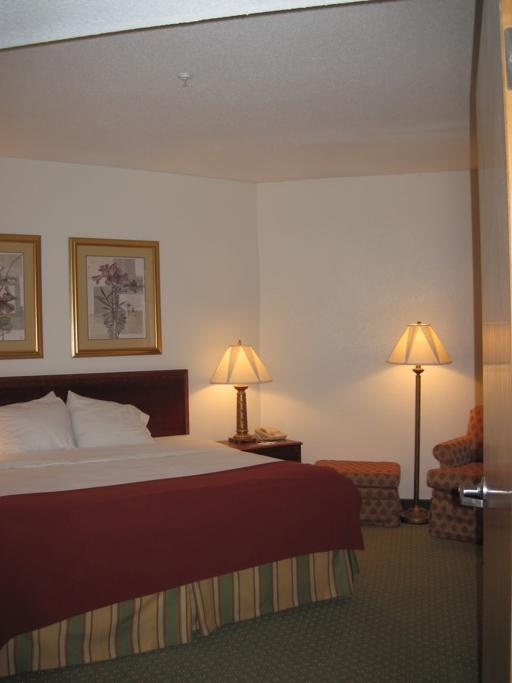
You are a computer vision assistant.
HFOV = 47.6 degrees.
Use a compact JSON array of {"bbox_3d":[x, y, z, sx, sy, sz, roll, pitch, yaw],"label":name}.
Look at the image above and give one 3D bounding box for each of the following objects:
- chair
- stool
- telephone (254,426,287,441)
[{"bbox_3d":[1.438,0.955,4.211,0.371,0.901,0.786,0,-2,20],"label":"chair"},{"bbox_3d":[0.906,1.173,4.718,0.719,0.409,0.711,-1,-4,7],"label":"stool"},{"bbox_3d":[0.120,0.788,4.890,0.141,0.061,0.149,5,1,42],"label":"telephone"}]
